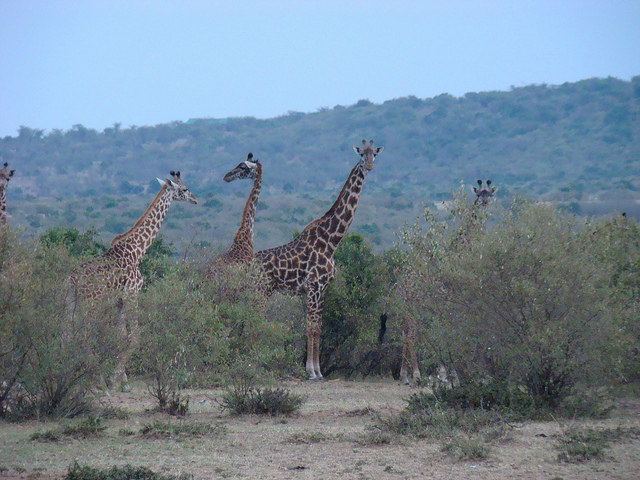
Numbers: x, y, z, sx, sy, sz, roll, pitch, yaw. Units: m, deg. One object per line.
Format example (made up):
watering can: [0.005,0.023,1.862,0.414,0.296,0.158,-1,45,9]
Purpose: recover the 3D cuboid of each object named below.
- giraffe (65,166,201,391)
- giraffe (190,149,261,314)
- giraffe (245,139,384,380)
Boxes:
giraffe: [-5.839,0.874,29.497,3.114,6.259,11.911,-2,13,-8]
giraffe: [-2.865,-0.356,29.618,1.949,4.093,5.212,0,13,-2]
giraffe: [-0.350,0.641,30.386,4.434,7.394,1.548,-7,13,-29]
